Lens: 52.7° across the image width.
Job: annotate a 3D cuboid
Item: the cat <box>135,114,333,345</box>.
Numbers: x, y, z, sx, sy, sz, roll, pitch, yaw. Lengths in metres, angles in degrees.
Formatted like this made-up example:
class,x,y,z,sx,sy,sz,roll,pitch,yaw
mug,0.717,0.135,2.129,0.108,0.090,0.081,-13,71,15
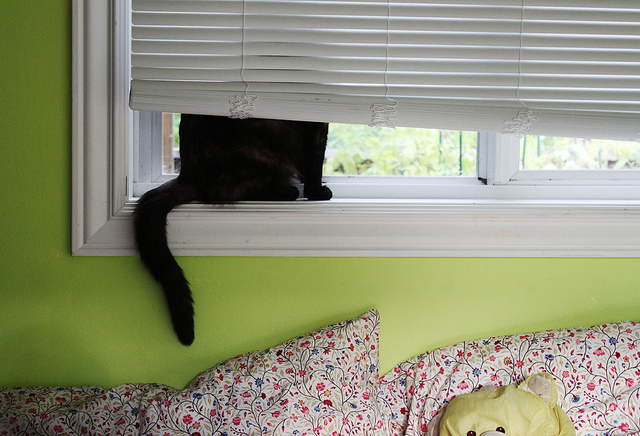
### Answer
class,x,y,z,sx,sy,sz,roll,pitch,yaw
cat,-0.292,0.033,2.267,0.680,0.745,0.242,-2,16,-14
